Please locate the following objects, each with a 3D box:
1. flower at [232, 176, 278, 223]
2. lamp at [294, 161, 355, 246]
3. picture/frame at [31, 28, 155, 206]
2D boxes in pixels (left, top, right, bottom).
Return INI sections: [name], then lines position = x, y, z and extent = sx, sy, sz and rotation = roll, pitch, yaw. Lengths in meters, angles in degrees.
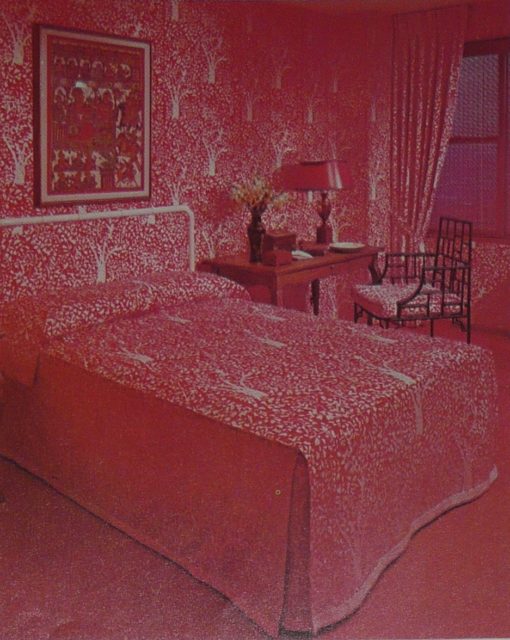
[flower]
position = -0.016, -0.864, 3.878
extent = 0.359, 0.349, 0.355
rotation = -7, 14, -24
[lamp]
position = 0.542, -0.915, 4.213
extent = 0.464, 0.634, 0.477
rotation = 6, 16, 36
[picture/frame]
position = -0.912, -1.139, 3.045
extent = 0.121, 0.983, 0.728
rotation = 6, 10, 39
